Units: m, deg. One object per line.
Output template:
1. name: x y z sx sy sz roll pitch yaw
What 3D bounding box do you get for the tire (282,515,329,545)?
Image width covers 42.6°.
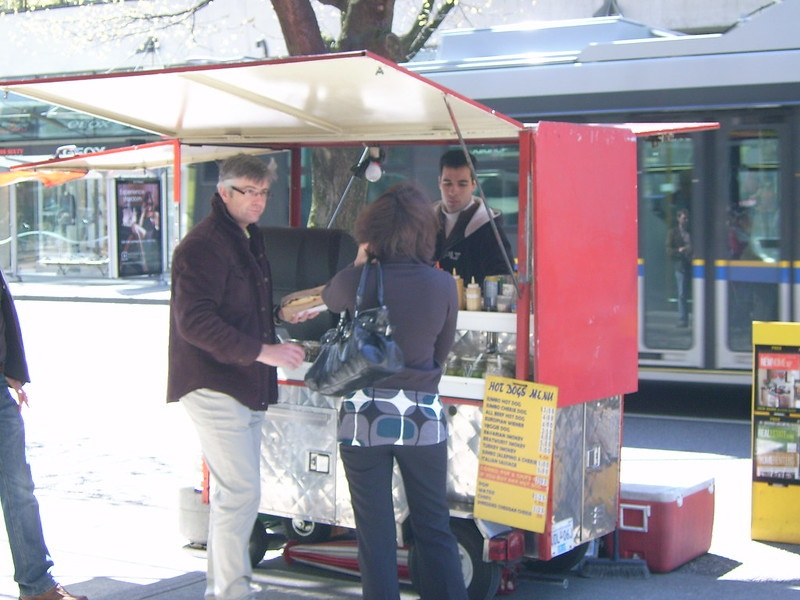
1. tire: -0.713 1.769 7.934 0.306 0.344 0.113 3 1 24

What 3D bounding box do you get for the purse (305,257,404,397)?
1. purse: -0.239 0.143 6.410 0.309 0.905 0.734 16 -21 -33

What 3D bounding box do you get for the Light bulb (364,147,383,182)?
1. Light bulb: -0.220 -1.105 8.378 0.141 0.267 0.280 -1 9 -2

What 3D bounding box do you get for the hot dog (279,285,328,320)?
1. hot dog: -0.660 0.064 7.436 0.334 0.192 0.468 -11 -14 -5

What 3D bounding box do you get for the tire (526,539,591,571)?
1. tire: 1.156 1.890 7.609 0.449 0.262 0.191 0 8 5

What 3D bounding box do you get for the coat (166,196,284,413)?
1. coat: -1.174 0.042 6.818 0.761 1.436 0.695 -4 9 -21

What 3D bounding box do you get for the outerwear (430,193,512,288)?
1. outerwear: 0.522 -0.430 7.779 0.252 0.515 0.729 -8 15 -39
